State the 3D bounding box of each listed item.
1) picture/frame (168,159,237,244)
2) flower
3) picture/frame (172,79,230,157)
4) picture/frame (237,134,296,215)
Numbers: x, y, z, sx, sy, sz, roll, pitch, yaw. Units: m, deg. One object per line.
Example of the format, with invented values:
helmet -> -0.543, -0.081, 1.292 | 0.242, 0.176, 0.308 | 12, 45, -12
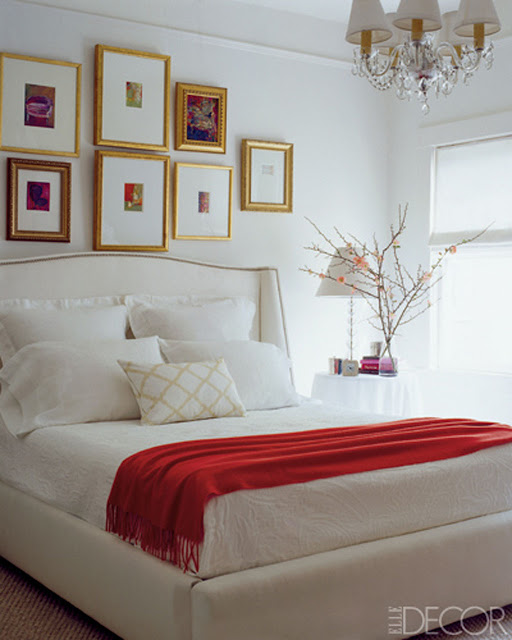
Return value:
picture/frame -> -0.384, -0.799, 3.436 | 0.584, 0.669, 0.064 | 1, 2, -34
flower -> 1.107, -0.257, 3.944 | 1.081, 1.163, 1.288 | -6, -8, 34
picture/frame -> -0.385, -1.346, 3.398 | 0.540, 0.614, 0.064 | 0, 1, -35
picture/frame -> 0.054, -1.044, 3.665 | 0.579, 0.669, 0.067 | -2, 4, -34
